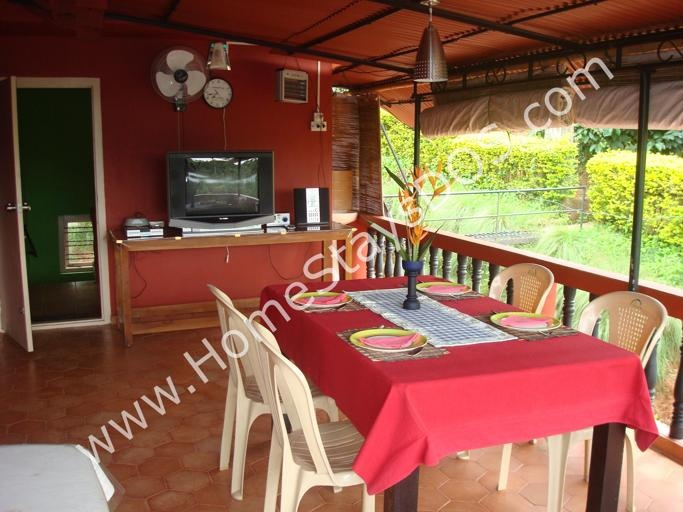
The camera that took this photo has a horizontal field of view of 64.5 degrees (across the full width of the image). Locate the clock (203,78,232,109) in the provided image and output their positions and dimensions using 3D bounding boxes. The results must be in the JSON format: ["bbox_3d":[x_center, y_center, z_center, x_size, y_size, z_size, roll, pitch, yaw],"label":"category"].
[{"bbox_3d":[-1.332,-1.700,5.710,0.457,0.346,0.042,-1,3,-26],"label":"clock"}]

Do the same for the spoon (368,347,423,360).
[{"bbox_3d":[0.245,0.428,2.347,0.210,0.029,0.060,-3,16,-16],"label":"spoon"}]

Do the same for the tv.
[{"bbox_3d":[-1.463,-0.665,5.664,0.743,0.824,1.308,12,15,38],"label":"tv"}]

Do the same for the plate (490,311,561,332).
[{"bbox_3d":[0.909,0.334,2.728,0.151,0.020,0.145,-12,17,-43],"label":"plate"}]

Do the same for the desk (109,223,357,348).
[{"bbox_3d":[-1.141,0.247,4.858,1.521,0.534,0.344,-6,23,-18],"label":"desk"}]
